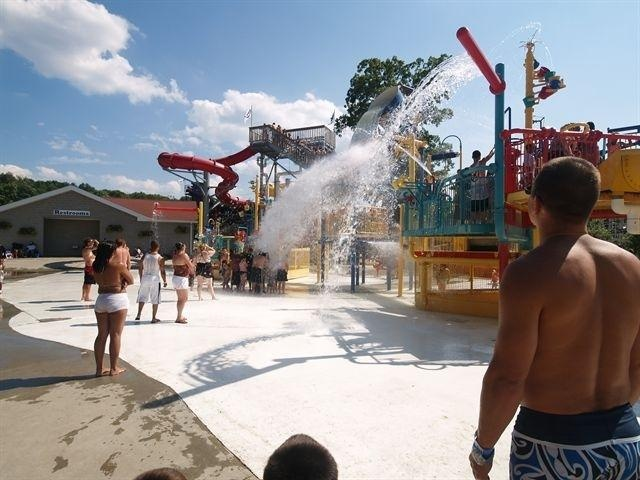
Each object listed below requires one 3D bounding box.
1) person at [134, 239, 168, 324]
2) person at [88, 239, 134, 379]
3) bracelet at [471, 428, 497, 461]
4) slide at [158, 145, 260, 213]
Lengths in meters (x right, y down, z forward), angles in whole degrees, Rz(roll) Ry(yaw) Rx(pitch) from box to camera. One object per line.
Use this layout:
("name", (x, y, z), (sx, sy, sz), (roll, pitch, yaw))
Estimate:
("person", (-3.610, 0.878, 10.443), (0.633, 1.783, 1.102), (-1, 5, -20))
("person", (-2.981, 0.954, 7.074), (0.518, 1.833, 0.771), (-1, 5, -26))
("bracelet", (1.185, 1.493, 3.600), (0.148, 0.149, 0.202), (1, 0, -9))
("slide", (-5.634, -2.971, 26.013), (3.114, 2.623, 5.013), (0, -39, 2))
